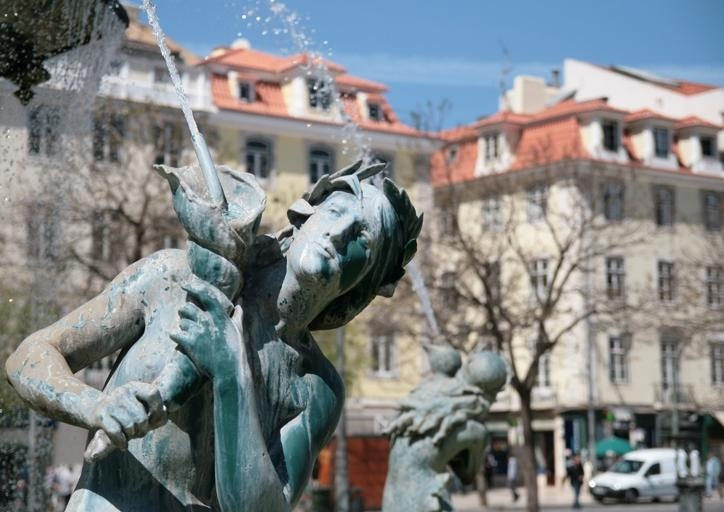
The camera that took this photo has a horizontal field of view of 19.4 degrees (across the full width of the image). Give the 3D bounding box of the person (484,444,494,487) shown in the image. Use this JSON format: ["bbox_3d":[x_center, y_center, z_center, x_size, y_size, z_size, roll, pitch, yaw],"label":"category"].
[{"bbox_3d":[2.367,3.905,39.610,0.197,0.780,0.362,1,-11,4],"label":"person"}]

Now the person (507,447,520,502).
[{"bbox_3d":[2.806,4.071,39.583,0.242,0.949,0.216,8,-9,-41],"label":"person"}]

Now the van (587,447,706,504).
[{"bbox_3d":[5.073,3.855,37.956,1.723,0.829,0.990,6,-12,-27],"label":"van"}]

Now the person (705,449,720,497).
[{"bbox_3d":[6.193,3.812,37.486,0.268,0.917,0.931,0,-11,9],"label":"person"}]
